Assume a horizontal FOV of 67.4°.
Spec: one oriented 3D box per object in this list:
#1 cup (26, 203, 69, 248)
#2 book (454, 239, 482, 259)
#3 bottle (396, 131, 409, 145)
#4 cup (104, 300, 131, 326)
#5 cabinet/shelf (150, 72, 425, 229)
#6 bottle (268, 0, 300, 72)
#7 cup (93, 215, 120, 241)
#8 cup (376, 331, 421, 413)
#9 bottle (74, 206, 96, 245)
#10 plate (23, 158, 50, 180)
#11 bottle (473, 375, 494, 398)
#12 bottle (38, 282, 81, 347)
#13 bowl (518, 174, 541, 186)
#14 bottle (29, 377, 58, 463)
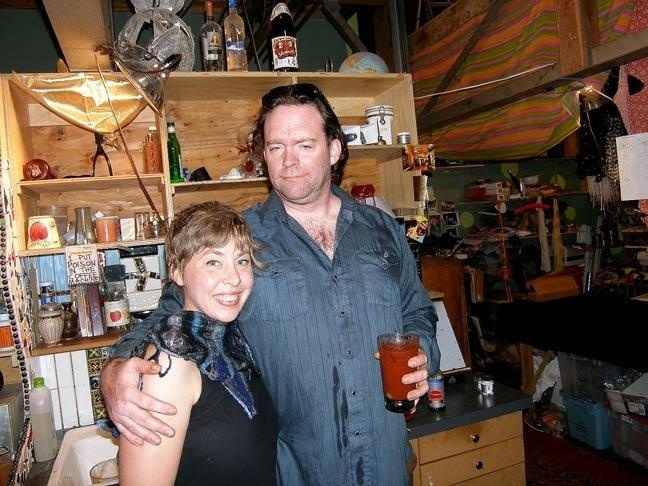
[{"bbox_3d":[-1.559,-0.098,2.880,0.242,0.268,0.246,-1,-3,0],"label":"cup"},{"bbox_3d":[2.014,0.082,6.674,0.450,0.285,0.286,-4,0,-11],"label":"book"},{"bbox_3d":[0.524,-0.690,3.203,0.078,0.065,0.079,-1,-2,41],"label":"bottle"},{"bbox_3d":[-1.213,0.407,2.918,0.146,0.158,0.147,-2,2,0],"label":"cup"},{"bbox_3d":[-0.365,-0.609,3.641,1.473,1.265,0.472,-7,23,-17],"label":"cabinet/shelf"},{"bbox_3d":[-0.248,-1.258,2.970,0.151,0.417,0.128,-4,0,-8],"label":"bottle"},{"bbox_3d":[-1.279,-0.082,2.883,0.142,0.150,0.144,-2,-2,0],"label":"cup"},{"bbox_3d":[0.296,0.510,1.890,0.152,0.311,0.080,-4,0,7],"label":"cup"},{"bbox_3d":[-1.400,-0.099,2.849,0.108,0.209,0.181,-4,0,-27],"label":"bottle"},{"bbox_3d":[-1.631,-0.416,2.776,0.146,0.118,0.110,-4,0,-31],"label":"plate"},{"bbox_3d":[1.026,0.917,3.107,0.097,0.113,0.129,-1,0,-26],"label":"bottle"},{"bbox_3d":[-1.589,0.407,2.898,0.207,0.338,0.342,-4,0,-31],"label":"bottle"},{"bbox_3d":[2.876,-0.876,6.802,0.228,0.148,0.328,-4,0,19],"label":"bowl"},{"bbox_3d":[-1.508,0.935,2.617,0.121,0.410,0.223,-4,0,-32],"label":"bottle"}]
